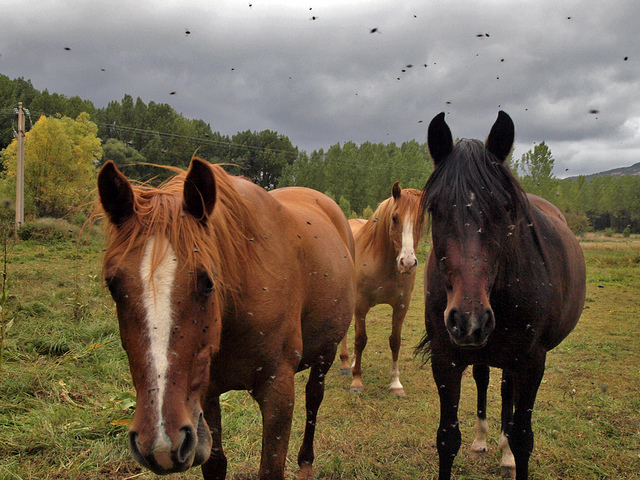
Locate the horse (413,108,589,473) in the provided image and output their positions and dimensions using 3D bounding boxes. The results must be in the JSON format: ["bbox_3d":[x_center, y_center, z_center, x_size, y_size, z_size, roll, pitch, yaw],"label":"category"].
[{"bbox_3d":[2.512,0.832,9.406,2.334,5.148,1.228,-3,4,-37],"label":"horse"}]
